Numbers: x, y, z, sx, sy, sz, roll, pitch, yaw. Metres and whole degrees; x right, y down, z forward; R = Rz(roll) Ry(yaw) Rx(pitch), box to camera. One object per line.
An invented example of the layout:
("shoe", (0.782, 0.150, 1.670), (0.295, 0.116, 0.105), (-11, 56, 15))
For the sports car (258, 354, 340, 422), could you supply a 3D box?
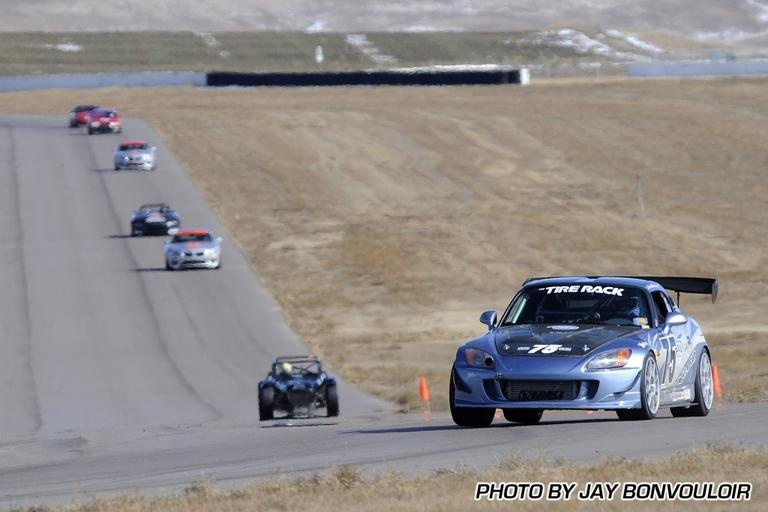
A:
("sports car", (-3.363, 5.169, 66.912), (2.839, 1.955, 5.776), (2, 7, 0))
